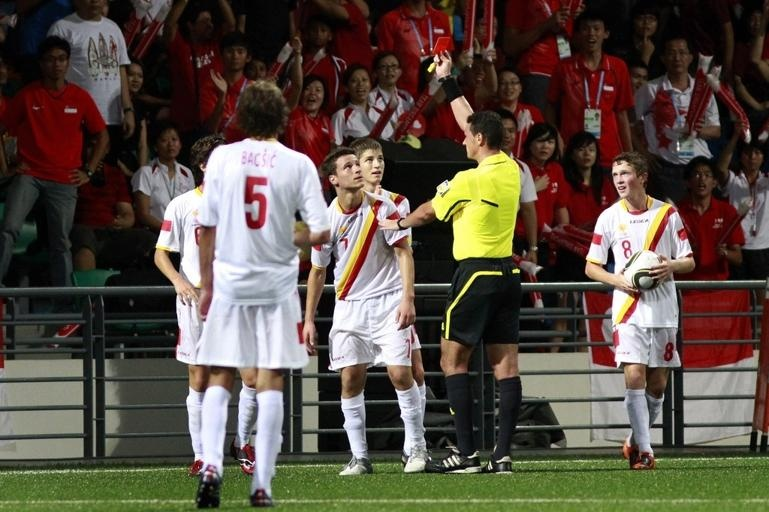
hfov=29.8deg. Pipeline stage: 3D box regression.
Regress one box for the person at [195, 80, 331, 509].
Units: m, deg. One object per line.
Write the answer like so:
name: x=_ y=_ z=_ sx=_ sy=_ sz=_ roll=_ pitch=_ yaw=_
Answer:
person: x=-1.131 y=0.333 z=13.155 sx=1.145 sy=3.855 sz=0.452 roll=1 pitch=-6 yaw=-7

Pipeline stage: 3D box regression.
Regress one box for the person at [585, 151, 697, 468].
person: x=2.632 y=0.562 z=14.947 sx=1.068 sy=3.268 sz=0.454 roll=-1 pitch=-6 yaw=9

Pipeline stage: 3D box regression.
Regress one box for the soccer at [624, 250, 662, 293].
soccer: x=2.700 y=0.207 z=14.899 sx=0.395 sy=0.377 sz=0.301 roll=-9 pitch=22 yaw=37

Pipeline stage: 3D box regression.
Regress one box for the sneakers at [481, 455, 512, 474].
sneakers: x=1.135 y=2.116 z=14.663 sx=0.363 sy=0.141 sz=0.141 roll=1 pitch=2 yaw=37

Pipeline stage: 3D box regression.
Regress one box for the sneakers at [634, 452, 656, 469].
sneakers: x=2.665 y=2.114 z=14.933 sx=0.237 sy=0.172 sz=0.257 roll=-1 pitch=-5 yaw=10
